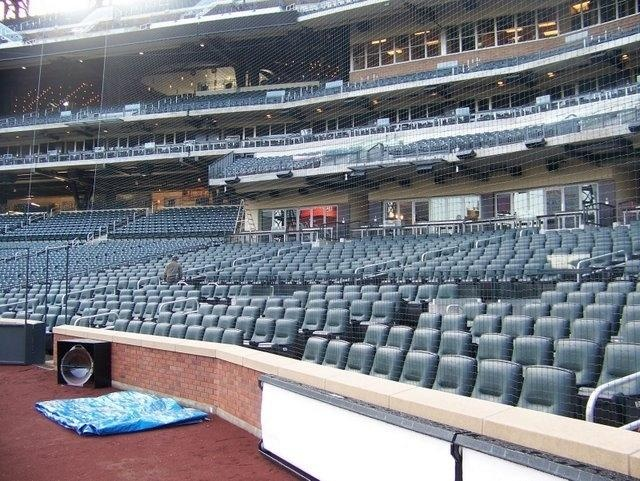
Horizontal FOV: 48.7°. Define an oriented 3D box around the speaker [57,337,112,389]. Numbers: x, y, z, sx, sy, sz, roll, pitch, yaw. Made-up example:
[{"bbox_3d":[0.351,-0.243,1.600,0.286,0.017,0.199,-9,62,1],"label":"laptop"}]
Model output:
[{"bbox_3d":[-4.313,2.222,12.816,0.977,0.688,0.510,2,-6,23],"label":"speaker"}]
